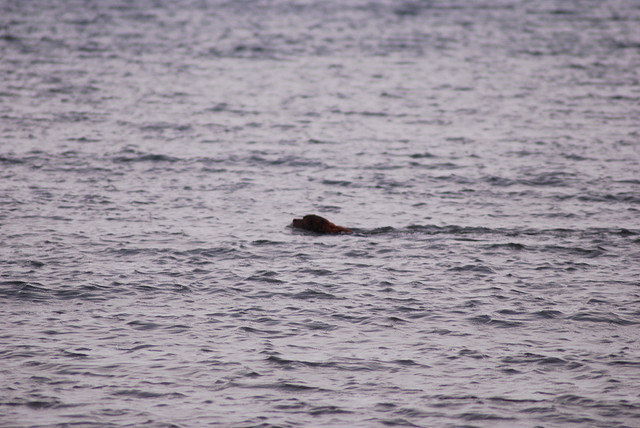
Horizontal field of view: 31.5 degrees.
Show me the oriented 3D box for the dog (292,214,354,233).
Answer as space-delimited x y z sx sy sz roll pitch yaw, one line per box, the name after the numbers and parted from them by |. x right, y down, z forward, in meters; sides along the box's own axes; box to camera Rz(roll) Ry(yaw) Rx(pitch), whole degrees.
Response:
0.357 0.562 58.289 4.070 0.937 0.700 3 53 13 | dog
